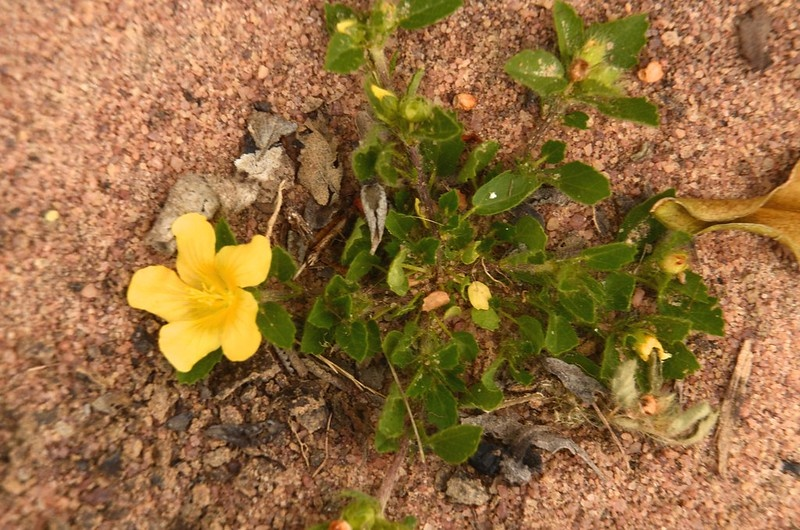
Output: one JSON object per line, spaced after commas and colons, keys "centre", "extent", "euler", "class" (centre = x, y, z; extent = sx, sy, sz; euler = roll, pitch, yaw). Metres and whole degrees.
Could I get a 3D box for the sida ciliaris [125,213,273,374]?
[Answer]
{"centre": [-0.926, 0.150, 2.586], "extent": [0.692, 0.263, 0.717], "euler": [23, 85, 1], "class": "sida ciliaris"}
